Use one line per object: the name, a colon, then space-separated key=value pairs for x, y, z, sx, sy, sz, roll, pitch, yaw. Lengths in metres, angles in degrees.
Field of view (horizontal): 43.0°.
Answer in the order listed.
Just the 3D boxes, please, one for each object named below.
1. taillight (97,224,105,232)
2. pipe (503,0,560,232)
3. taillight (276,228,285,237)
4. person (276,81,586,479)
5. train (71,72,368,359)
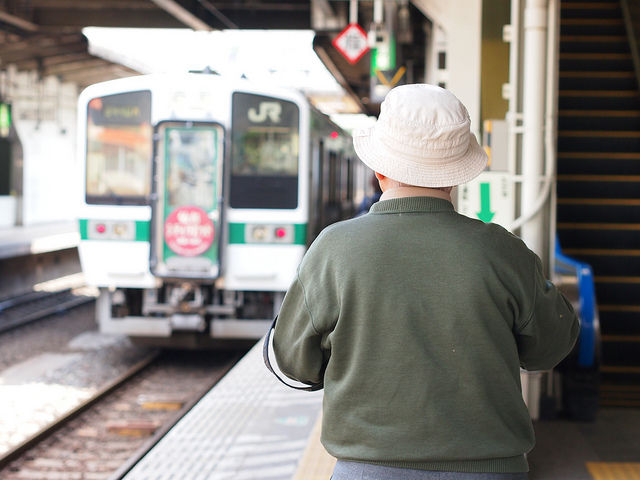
taillight: x=-2.344 y=-0.120 z=8.701 sx=0.076 sy=0.081 sz=0.011 roll=-1 pitch=8 yaw=10
pipe: x=1.615 y=-0.925 z=6.141 sx=0.357 sy=1.729 sz=0.299 roll=0 pitch=9 yaw=17
taillight: x=-0.430 y=-0.074 z=8.780 sx=0.087 sy=0.094 sz=0.023 roll=-2 pitch=8 yaw=4
person: x=0.488 y=0.204 z=3.891 sx=1.357 sy=1.867 sz=0.506 roll=-3 pitch=8 yaw=-6
train: x=-0.842 y=-0.491 z=13.152 sx=2.450 sy=3.565 sz=9.149 roll=1 pitch=3 yaw=6
